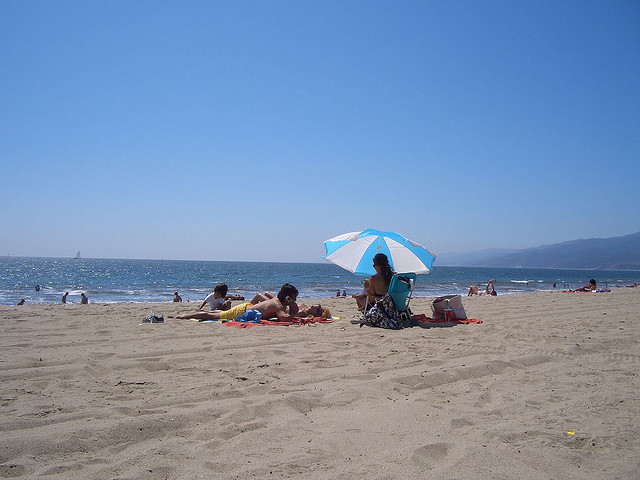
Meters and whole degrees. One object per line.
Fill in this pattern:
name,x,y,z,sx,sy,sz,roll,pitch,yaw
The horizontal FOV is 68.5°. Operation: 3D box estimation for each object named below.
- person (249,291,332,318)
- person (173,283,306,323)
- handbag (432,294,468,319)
person,-0.565,1.332,8.991,1.327,0.413,0.635,14,-3,-7
person,-1.230,1.154,8.722,2.015,0.680,0.608,-1,-3,9
handbag,2.350,1.313,8.526,0.673,0.439,0.458,-10,-24,28
